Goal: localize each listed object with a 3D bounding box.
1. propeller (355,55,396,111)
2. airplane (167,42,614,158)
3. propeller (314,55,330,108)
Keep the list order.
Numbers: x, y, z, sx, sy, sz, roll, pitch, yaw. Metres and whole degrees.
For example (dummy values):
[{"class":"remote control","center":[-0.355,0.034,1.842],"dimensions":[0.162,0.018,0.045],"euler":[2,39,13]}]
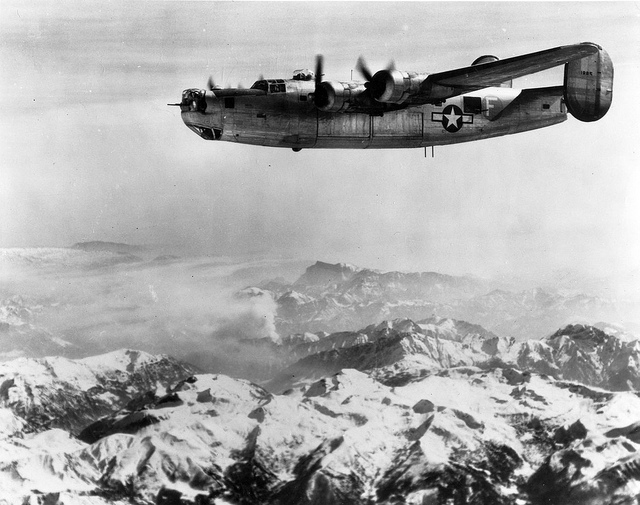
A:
[{"class":"propeller","center":[1.433,-3.824,20.755],"dimensions":[0.337,0.963,0.957],"euler":[6,-35,-46]},{"class":"airplane","center":[2.062,-3.703,21.089],"dimensions":[9.956,2.945,2.459],"euler":[4,-2,-18]},{"class":"propeller","center":[-0.016,-3.888,20.856],"dimensions":[0.275,1.232,0.468],"euler":[1,-10,-10]}]
